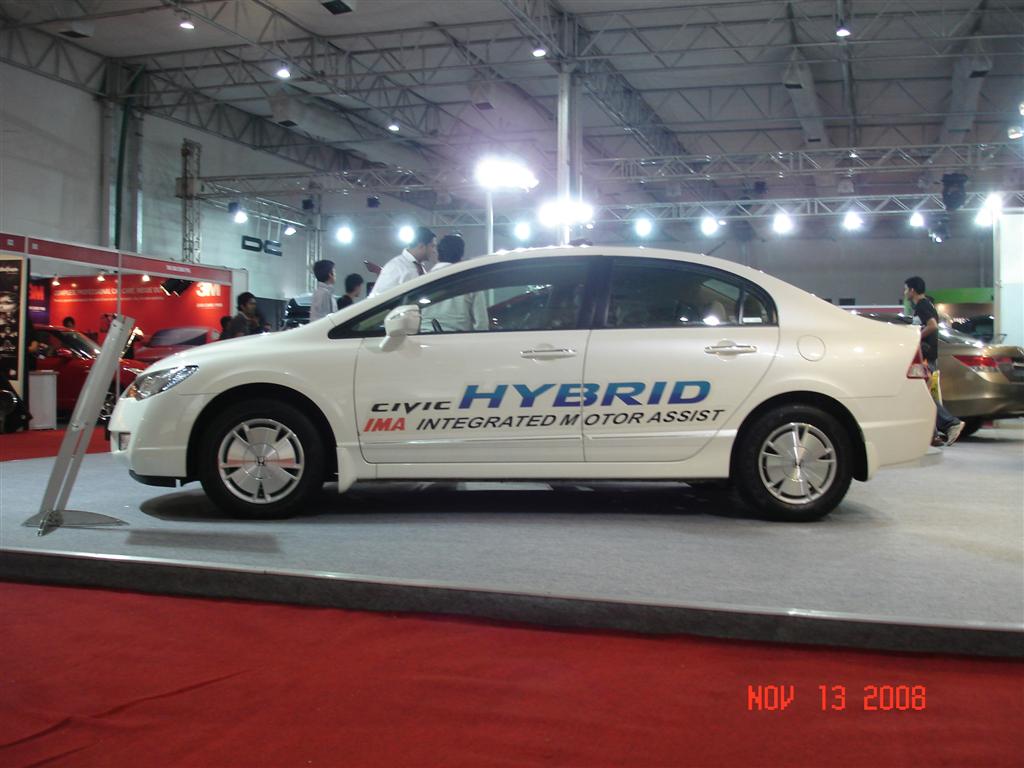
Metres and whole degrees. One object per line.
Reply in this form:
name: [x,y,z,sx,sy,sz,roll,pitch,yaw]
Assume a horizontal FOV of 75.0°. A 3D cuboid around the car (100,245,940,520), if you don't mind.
car: [0.064,-0.001,4.908,5.098,1.443,2.036,1,-4,1]
